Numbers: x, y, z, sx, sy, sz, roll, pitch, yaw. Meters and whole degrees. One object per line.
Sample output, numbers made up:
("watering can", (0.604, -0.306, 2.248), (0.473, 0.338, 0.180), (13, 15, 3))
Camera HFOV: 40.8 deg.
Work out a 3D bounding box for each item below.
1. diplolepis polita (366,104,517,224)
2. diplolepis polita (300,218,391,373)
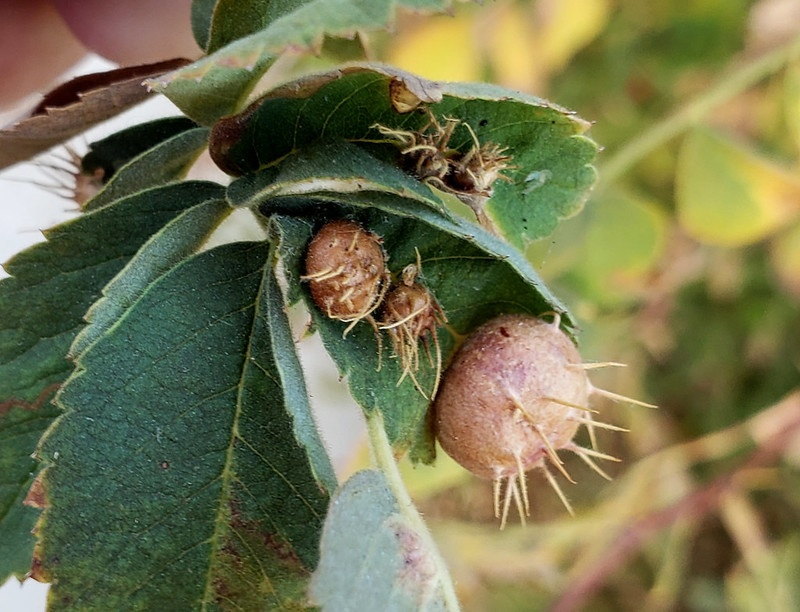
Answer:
("diplolepis polita", (0.040, -0.141, 1.056), (0.113, 0.037, 0.092), (15, 10, -37))
("diplolepis polita", (-0.046, -0.026, 1.013), (0.089, 0.107, 0.034), (-24, 13, -21))
